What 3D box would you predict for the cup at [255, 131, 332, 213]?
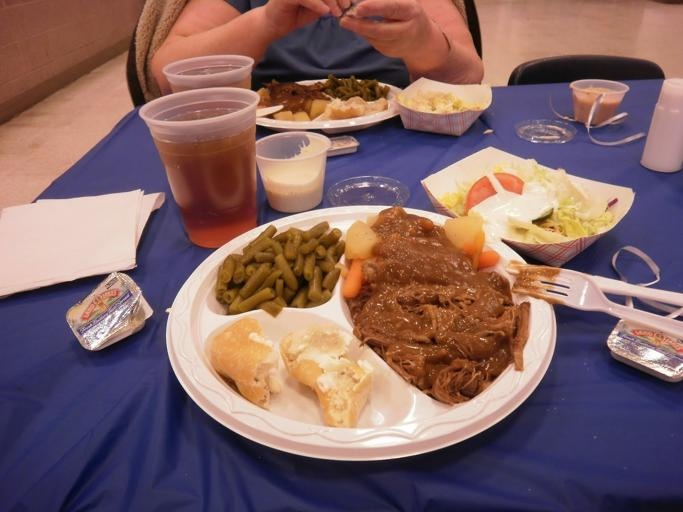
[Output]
[{"bbox_3d":[-0.235,-0.386,2.583,0.362,0.291,0.388,0,40,0],"label":"cup"}]
